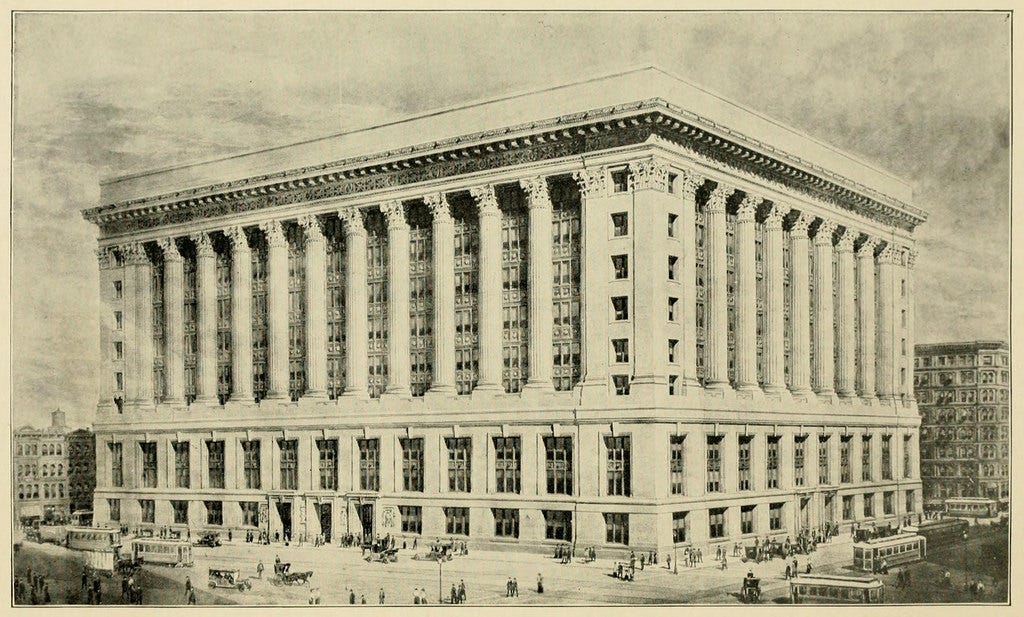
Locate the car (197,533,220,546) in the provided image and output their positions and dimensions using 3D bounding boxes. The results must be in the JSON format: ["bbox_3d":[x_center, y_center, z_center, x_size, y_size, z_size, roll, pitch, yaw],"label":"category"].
[{"bbox_3d":[-30.207,22.856,172.184,1.772,0.810,1.132,0,-1,12],"label":"car"}]

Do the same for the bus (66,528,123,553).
[{"bbox_3d":[-41.309,22.502,169.716,3.888,1.317,2.690,0,-3,16],"label":"bus"}]

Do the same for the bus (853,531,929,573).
[{"bbox_3d":[34.962,22.321,160.857,7.626,4.265,1.821,12,-23,-34],"label":"bus"}]

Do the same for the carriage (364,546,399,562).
[{"bbox_3d":[-12.398,23.001,163.145,2.374,0.833,1.515,-1,-8,21],"label":"carriage"}]

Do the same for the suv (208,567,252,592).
[{"bbox_3d":[-26.389,25.186,161.644,3.464,1.547,2.006,-1,-4,11],"label":"suv"}]
